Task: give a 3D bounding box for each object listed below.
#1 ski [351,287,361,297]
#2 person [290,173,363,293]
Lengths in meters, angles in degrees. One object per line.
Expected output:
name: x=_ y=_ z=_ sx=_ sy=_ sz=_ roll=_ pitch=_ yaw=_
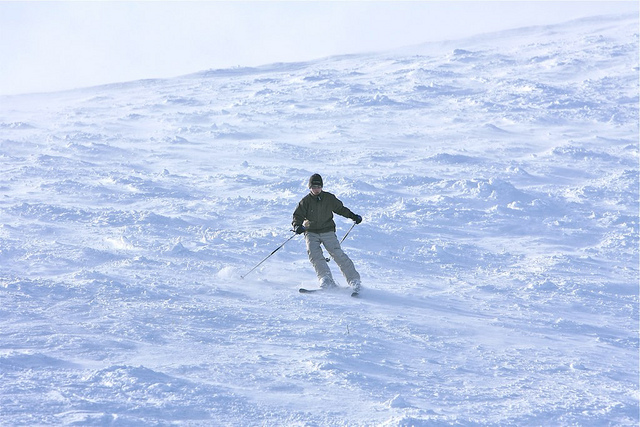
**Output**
ski: x=1.042 y=2.360 z=34.837 sx=0.089 sy=0.216 sz=0.397 roll=-28 pitch=-21 yaw=36
person: x=0.173 y=0.683 z=35.047 sx=1.598 sy=3.592 sz=1.242 roll=-22 pitch=-17 yaw=20
